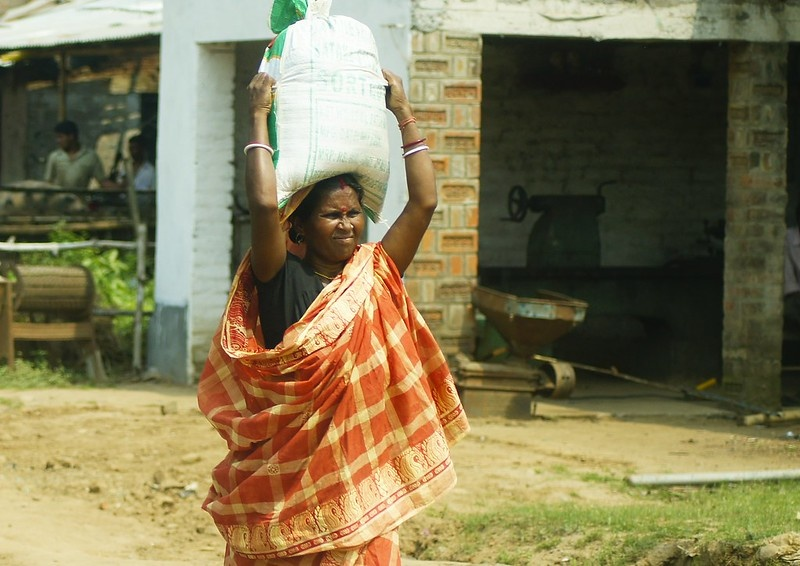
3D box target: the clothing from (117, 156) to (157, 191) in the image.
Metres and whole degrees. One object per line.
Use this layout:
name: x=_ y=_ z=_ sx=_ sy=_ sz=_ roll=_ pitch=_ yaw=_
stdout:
clothing: x=-3.350 y=-1.424 z=25.457 sx=0.464 sy=0.395 sz=0.248 roll=6 pitch=-12 yaw=2
